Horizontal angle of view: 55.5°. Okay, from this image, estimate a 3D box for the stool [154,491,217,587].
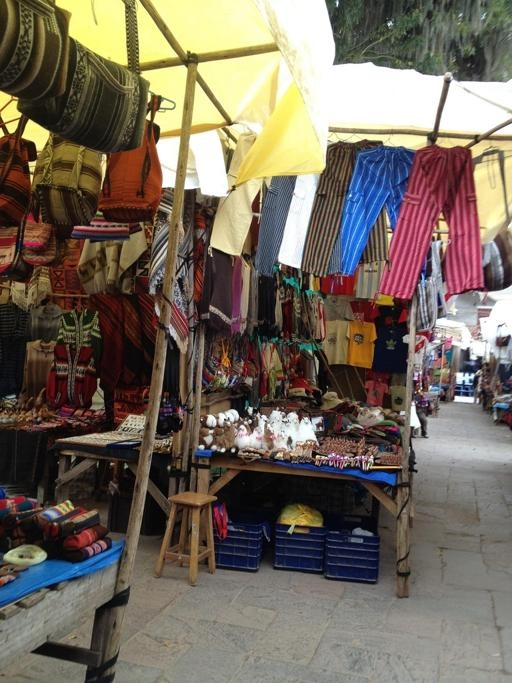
[{"bbox_3d":[-0.520,1.528,3.806,0.483,0.568,0.477,8,-11,-29],"label":"stool"}]

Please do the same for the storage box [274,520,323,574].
[{"bbox_3d":[0.363,1.683,4.081,0.369,0.288,0.383,2,-7,10],"label":"storage box"}]

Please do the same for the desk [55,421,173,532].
[{"bbox_3d":[-1.262,1.261,4.899,1.240,0.579,1.329,2,-7,18],"label":"desk"}]

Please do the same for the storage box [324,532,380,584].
[{"bbox_3d":[0.757,1.669,3.859,0.367,0.333,0.383,1,-10,9],"label":"storage box"}]
